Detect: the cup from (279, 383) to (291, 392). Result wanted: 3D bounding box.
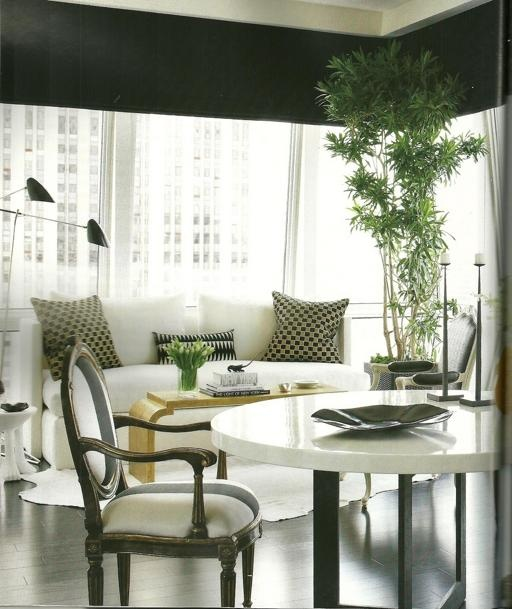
[{"bbox_3d":[0.147,0.405,3.424,0.042,0.026,0.041,-1,0,0],"label":"cup"}]

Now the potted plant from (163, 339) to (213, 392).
[{"bbox_3d":[-0.324,0.304,3.327,0.243,0.258,0.230,-7,-14,29],"label":"potted plant"}]

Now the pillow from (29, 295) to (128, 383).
[{"bbox_3d":[-0.982,0.162,3.947,0.257,0.448,0.504,8,8,31],"label":"pillow"}]

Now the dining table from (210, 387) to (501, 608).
[{"bbox_3d":[0.199,0.467,1.540,0.621,0.379,0.617,0,-4,0],"label":"dining table"}]

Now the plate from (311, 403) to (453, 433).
[{"bbox_3d":[0.261,0.236,1.477,0.272,0.040,0.170,-8,3,-24],"label":"plate"}]

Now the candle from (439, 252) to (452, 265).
[{"bbox_3d":[0.565,-0.145,2.065,0.037,0.042,0.037,0,-3,-2],"label":"candle"}]
